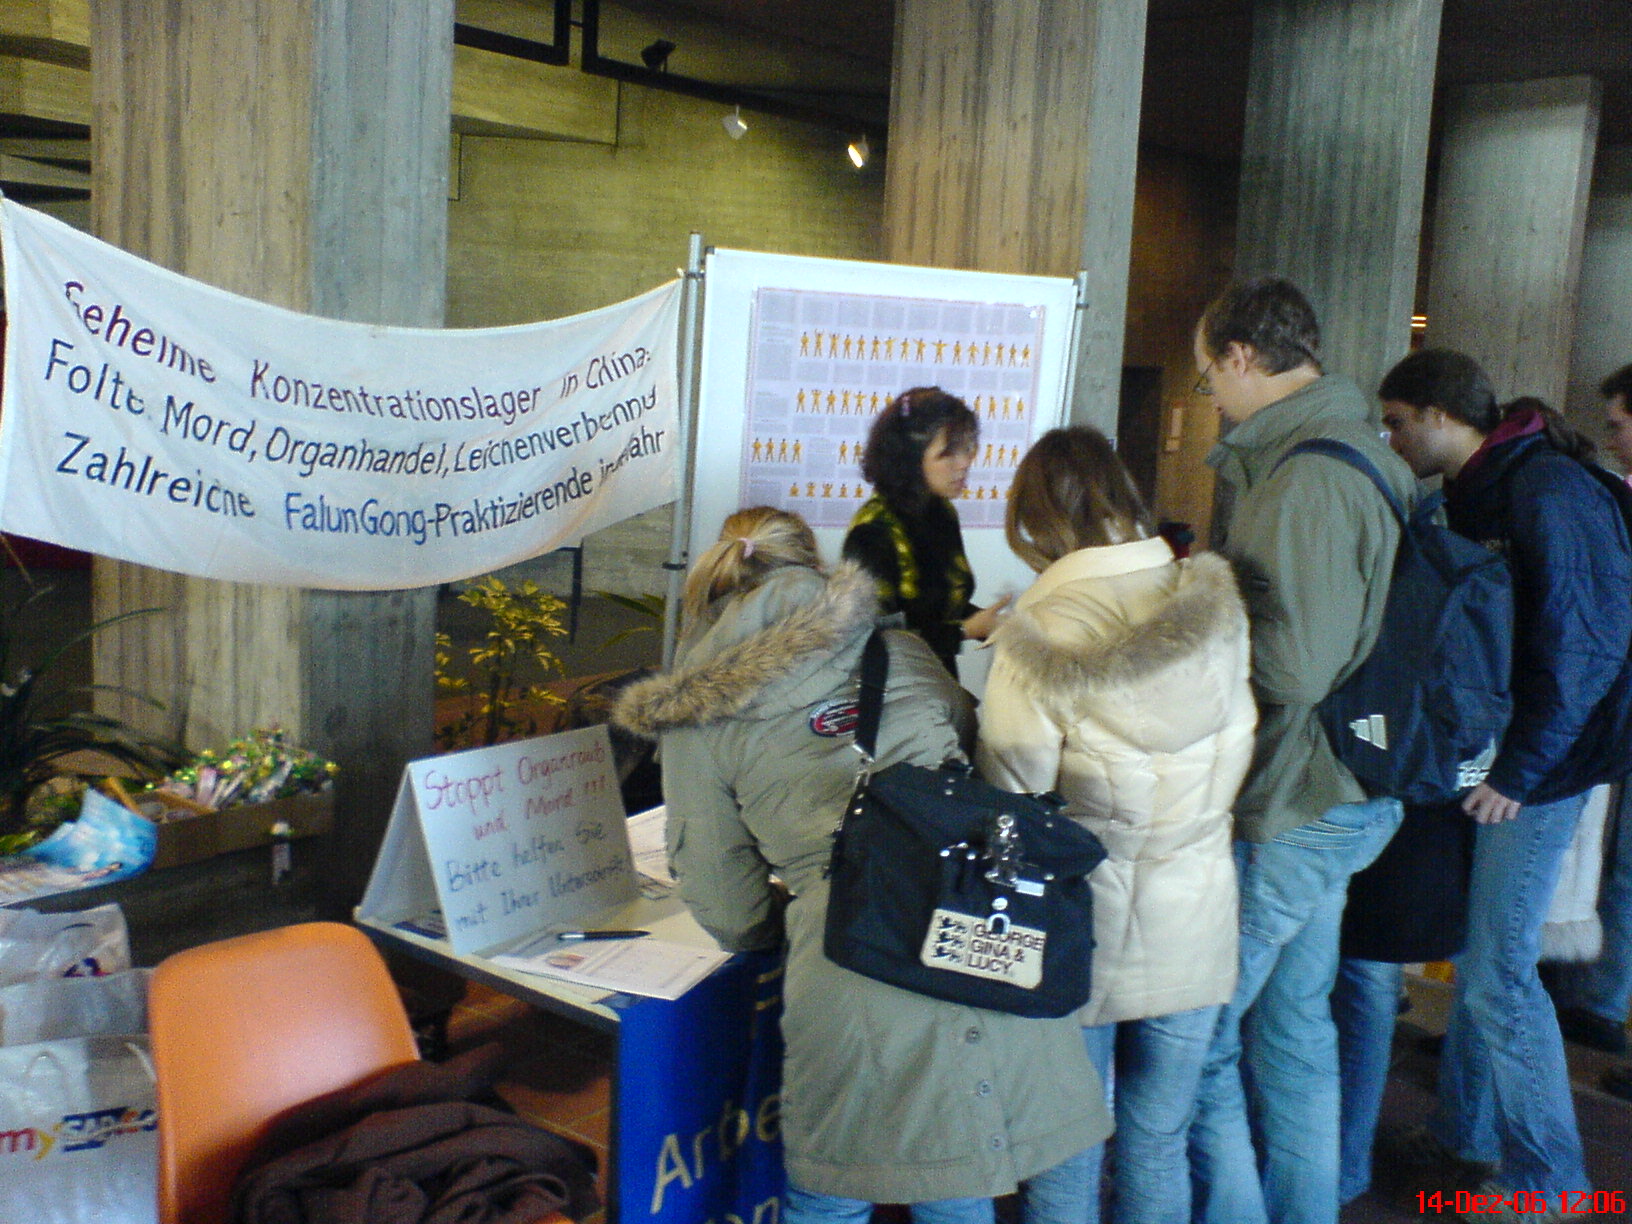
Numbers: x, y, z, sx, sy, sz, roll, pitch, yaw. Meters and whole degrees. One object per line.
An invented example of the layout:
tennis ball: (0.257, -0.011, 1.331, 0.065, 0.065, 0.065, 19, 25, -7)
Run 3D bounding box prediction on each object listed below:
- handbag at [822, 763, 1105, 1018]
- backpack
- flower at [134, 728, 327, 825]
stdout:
handbag: (0.241, 0.502, 2.324, 0.393, 0.363, 0.201, 13, -10, -1)
backpack: (1.269, 0.097, 2.772, 0.353, 0.582, 0.184, -4, 8, -23)
flower: (-1.535, 0.416, 3.512, 0.488, 0.157, 0.372, -7, 10, -38)
